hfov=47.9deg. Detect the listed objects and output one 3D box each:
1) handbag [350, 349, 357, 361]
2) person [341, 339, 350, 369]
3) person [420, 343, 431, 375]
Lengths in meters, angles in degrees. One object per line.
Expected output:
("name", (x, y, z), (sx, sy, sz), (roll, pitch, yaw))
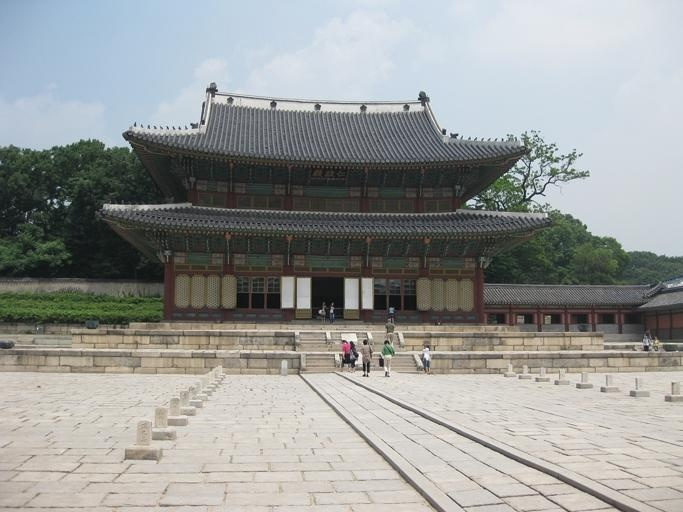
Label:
("handbag", (0.486, 4.203, 32.077), (0.305, 0.454, 0.613), (-1, 4, 2))
("person", (0.182, 4.239, 32.050), (0.376, 1.092, 0.712), (-1, 4, 0))
("person", (3.519, 4.335, 32.091), (0.396, 1.185, 1.397), (0, 4, 6))
